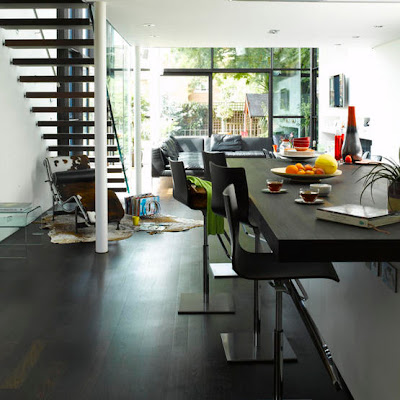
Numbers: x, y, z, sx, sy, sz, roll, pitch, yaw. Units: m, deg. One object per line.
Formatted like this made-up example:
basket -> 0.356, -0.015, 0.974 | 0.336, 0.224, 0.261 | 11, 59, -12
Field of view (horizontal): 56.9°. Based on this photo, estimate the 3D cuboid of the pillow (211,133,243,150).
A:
pillow -> 0.768, -1.611, 10.196 | 0.567, 0.570, 0.173 | 1, -17, 5

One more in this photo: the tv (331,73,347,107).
tv -> 2.910, -2.372, 7.970 | 0.551, 0.667, 0.074 | -19, 20, -36

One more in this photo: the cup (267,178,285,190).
cup -> 0.373, -0.076, 1.851 | 0.077, 0.055, 0.081 | 0, 4, 0

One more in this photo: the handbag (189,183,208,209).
handbag -> -0.012, -0.018, 2.823 | 0.178, 0.165, 0.087 | 14, -15, -9

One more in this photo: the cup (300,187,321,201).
cup -> 0.463, -0.027, 1.543 | 0.072, 0.047, 0.074 | 0, 7, 0

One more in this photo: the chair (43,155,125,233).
chair -> -1.599, -0.135, 5.149 | 1.364, 0.815, 0.802 | 19, 20, 38

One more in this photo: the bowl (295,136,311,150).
bowl -> 0.892, -0.491, 3.256 | 0.124, 0.109, 0.132 | 0, 2, 0
